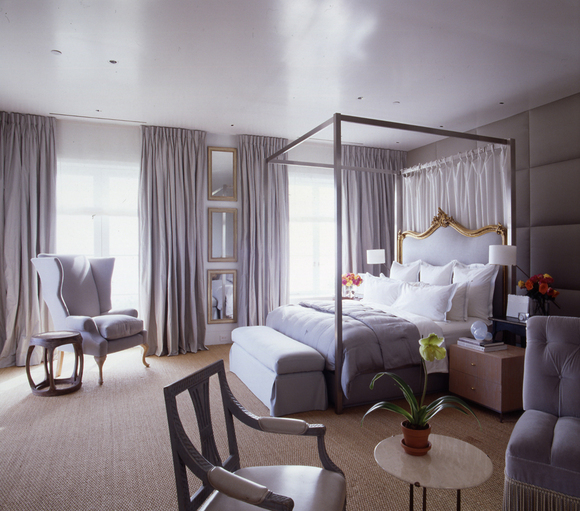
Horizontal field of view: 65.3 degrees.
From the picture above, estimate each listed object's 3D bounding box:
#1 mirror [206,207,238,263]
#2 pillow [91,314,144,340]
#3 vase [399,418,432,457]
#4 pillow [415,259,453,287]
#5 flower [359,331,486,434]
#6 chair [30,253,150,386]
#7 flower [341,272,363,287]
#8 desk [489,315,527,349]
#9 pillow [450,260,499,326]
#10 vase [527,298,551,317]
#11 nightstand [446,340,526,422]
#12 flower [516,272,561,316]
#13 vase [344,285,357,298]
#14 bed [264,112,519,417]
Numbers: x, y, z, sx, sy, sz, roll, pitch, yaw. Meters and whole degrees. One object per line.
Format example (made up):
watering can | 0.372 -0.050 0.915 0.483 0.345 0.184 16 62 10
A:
mirror | -0.889 -0.275 6.060 0.383 0.689 0.088 -1 2 -7
pillow | -1.764 0.746 4.703 0.496 0.221 0.348 -2 2 -30
vase | 0.633 0.927 2.280 0.132 0.136 0.149 0 1 7
pillow | 1.676 0.207 5.264 0.094 0.276 0.244 8 -2 -31
flower | 1.004 0.985 3.511 0.675 0.732 0.795 -1 1 -16
chair | -2.109 0.612 4.905 0.893 1.381 0.958 -5 -1 0
flower | 0.812 0.324 6.062 0.202 0.209 0.199 1 1 -44
desk | 1.990 0.692 4.165 0.346 0.397 0.279 1 0 -25
pillow | 1.896 0.402 4.629 0.454 0.611 0.230 -7 -25 36
vase | 2.294 0.478 4.191 0.140 0.200 0.158 1 4 8
nightstand | 1.660 1.031 3.872 0.462 0.530 0.516 1 -1 -20
flower | 2.326 0.329 4.268 0.387 0.478 0.406 -2 1 -28
vase | 0.818 0.490 6.193 0.142 0.203 0.169 2 1 12
bed | 0.942 0.061 5.209 2.256 2.884 2.641 -2 3 -29
